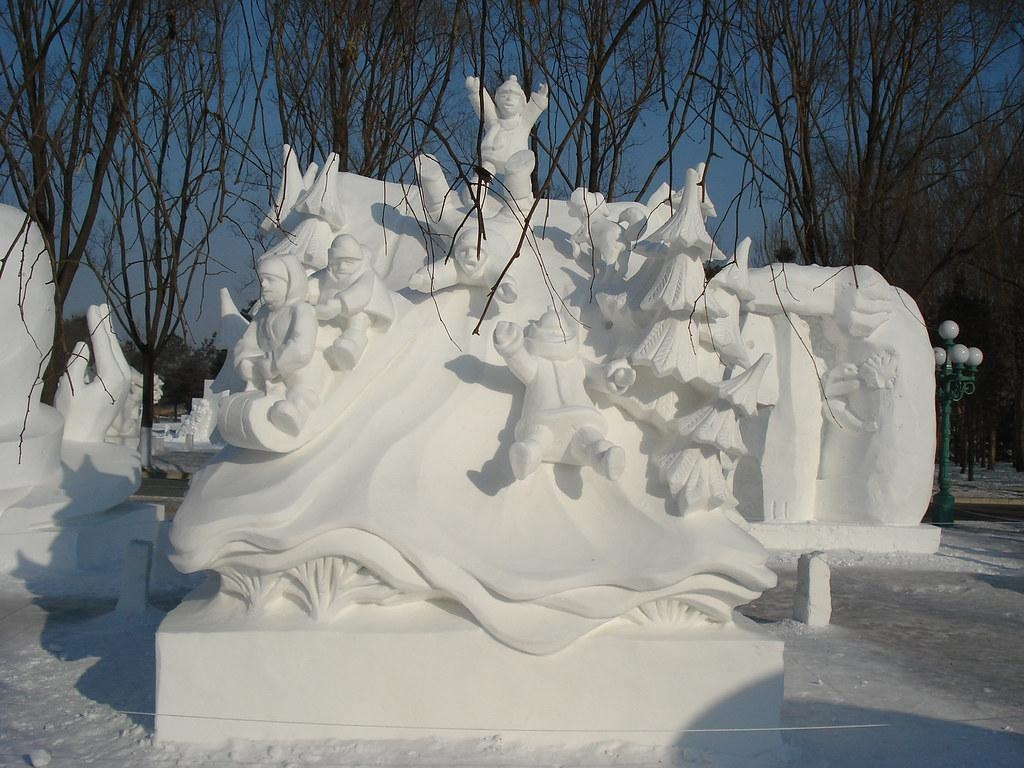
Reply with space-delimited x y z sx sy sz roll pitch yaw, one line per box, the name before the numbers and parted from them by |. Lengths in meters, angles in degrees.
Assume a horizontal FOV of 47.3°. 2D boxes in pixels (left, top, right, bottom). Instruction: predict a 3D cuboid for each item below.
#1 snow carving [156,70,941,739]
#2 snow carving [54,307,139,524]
snow carving | -0.272 0.670 10.930 5.306 4.528 6.236 0 3 -2
snow carving | -4.455 0.148 12.576 0.850 2.220 2.344 -2 9 -22
